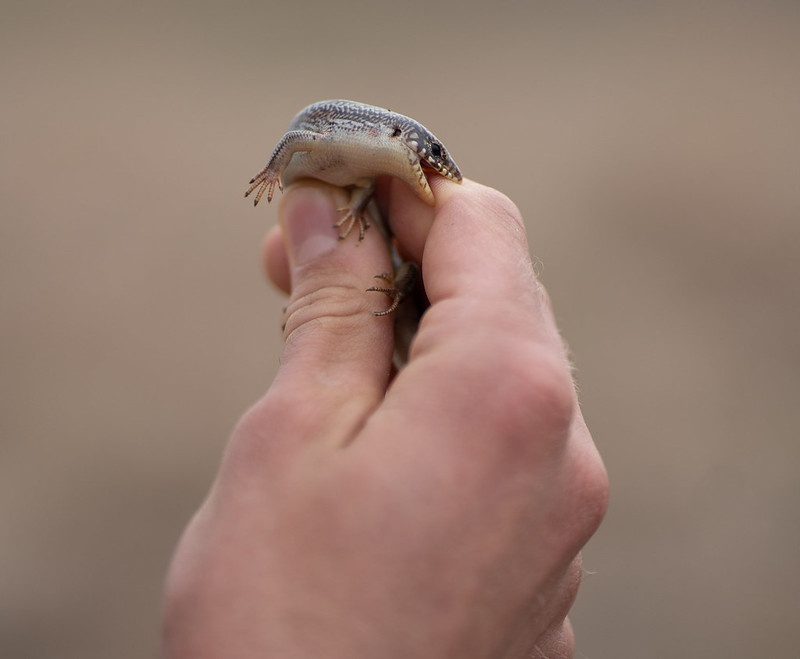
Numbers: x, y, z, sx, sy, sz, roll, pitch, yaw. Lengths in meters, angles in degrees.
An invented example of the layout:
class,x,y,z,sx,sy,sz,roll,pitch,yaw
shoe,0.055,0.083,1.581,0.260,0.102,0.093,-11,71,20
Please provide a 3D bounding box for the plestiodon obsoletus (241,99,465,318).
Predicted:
class,x,y,z,sx,sy,sz,roll,pitch,yaw
plestiodon obsoletus,-0.037,-0.211,1.316,0.274,0.159,0.406,36,1,-34
